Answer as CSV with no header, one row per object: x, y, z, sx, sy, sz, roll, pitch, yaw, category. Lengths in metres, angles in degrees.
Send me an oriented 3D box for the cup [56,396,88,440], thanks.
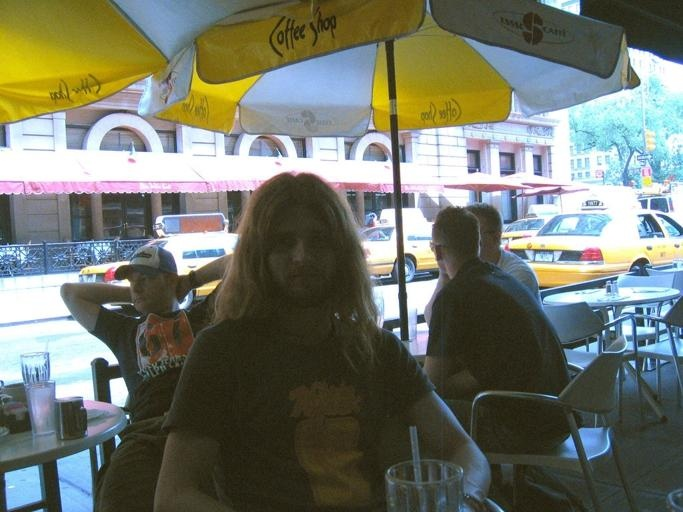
-1.605,0.971,3.803,0.163,0.225,0.178,1,4,0,cup

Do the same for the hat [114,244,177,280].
-1.390,0.031,4.583,0.256,0.241,0.403,-9,-5,33,hat

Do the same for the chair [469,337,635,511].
1.484,1.084,4.478,1.005,1.547,0.963,-1,-1,25,chair

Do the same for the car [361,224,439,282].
1.770,-0.059,17.934,1.239,1.089,2.981,-2,11,44,car

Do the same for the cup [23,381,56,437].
-1.786,0.929,3.875,0.200,0.310,0.131,1,4,8,cup

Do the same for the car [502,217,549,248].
4.402,-0.540,15.257,0.836,0.669,1.882,-1,5,29,car

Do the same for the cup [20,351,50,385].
-1.948,0.701,4.097,0.194,0.274,0.201,0,2,0,cup

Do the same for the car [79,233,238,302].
-2.429,0.105,8.430,0.938,0.722,2.085,-1,15,42,car
